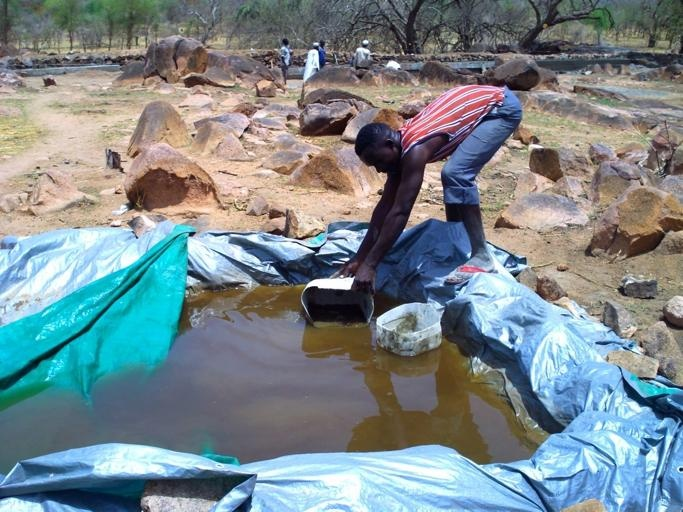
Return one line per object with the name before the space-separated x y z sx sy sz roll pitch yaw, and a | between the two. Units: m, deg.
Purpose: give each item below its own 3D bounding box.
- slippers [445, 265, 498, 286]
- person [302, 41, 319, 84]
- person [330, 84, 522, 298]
slippers | 0.884 0.118 4.231 0.316 0.077 0.141 -12 4 -13
person | -0.717 -4.991 15.491 0.324 0.872 0.683 11 19 9
person | 0.601 -0.501 4.253 1.522 1.212 0.683 -11 10 -14
